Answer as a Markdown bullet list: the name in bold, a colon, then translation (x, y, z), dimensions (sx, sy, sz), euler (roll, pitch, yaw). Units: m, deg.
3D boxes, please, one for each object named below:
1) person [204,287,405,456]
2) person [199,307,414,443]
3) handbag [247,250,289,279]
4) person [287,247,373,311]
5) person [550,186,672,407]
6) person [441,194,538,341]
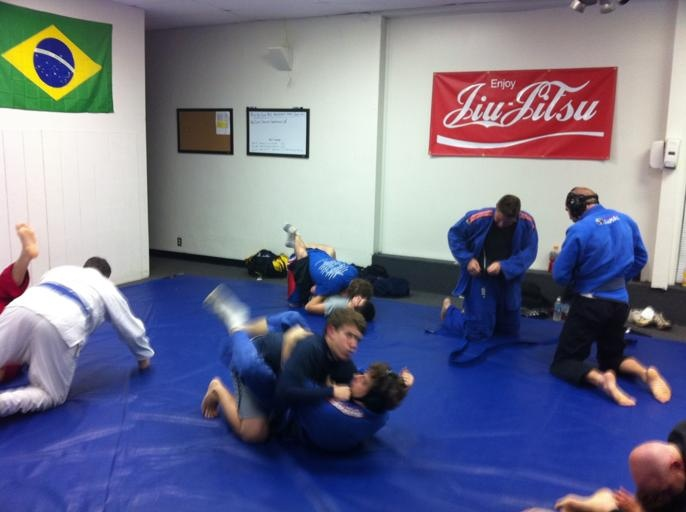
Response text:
- **person**: translation (-0.342, 0.764, 3.324), dimensions (1.506, 0.977, 0.857), euler (7, -7, 27)
- **person**: translation (-0.291, 0.744, 3.261), dimensions (1.140, 0.800, 0.727), euler (8, 6, 23)
- **handbag**: translation (-1.116, 0.128, 7.125), dimensions (0.398, 0.280, 0.573), euler (3, 2, -2)
- **person**: translation (-0.182, 0.277, 5.495), dimensions (0.915, 0.462, 0.570), euler (26, 45, 24)
- **person**: translation (2.209, 0.294, 4.067), dimensions (0.899, 1.585, 0.937), euler (7, 15, 22)
- **person**: translation (1.487, 0.132, 5.137), dimensions (0.924, 1.544, 0.879), euler (8, 13, 32)
